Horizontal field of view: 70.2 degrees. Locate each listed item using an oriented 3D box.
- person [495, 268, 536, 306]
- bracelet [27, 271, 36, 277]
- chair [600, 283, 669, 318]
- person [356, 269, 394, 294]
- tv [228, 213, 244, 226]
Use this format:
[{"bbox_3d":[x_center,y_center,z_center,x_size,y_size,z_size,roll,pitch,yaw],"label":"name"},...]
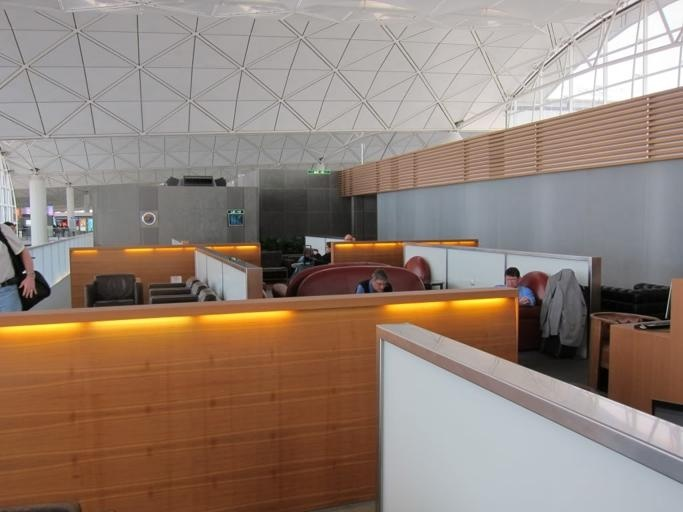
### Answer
[{"bbox_3d":[2.973,0.507,8.081,0.431,0.660,1.077,2,6,31],"label":"person"},{"bbox_3d":[-3.835,0.227,5.960,0.088,0.043,0.084,4,4,42],"label":"bracelet"},{"bbox_3d":[5.136,0.828,8.466,1.064,0.475,0.662,0,5,17],"label":"chair"},{"bbox_3d":[0.505,0.389,7.179,0.336,0.338,0.708,-3,-17,-16],"label":"person"},{"bbox_3d":[-4.746,-1.680,21.728,0.772,0.691,0.155,-5,7,-35],"label":"tv"}]
